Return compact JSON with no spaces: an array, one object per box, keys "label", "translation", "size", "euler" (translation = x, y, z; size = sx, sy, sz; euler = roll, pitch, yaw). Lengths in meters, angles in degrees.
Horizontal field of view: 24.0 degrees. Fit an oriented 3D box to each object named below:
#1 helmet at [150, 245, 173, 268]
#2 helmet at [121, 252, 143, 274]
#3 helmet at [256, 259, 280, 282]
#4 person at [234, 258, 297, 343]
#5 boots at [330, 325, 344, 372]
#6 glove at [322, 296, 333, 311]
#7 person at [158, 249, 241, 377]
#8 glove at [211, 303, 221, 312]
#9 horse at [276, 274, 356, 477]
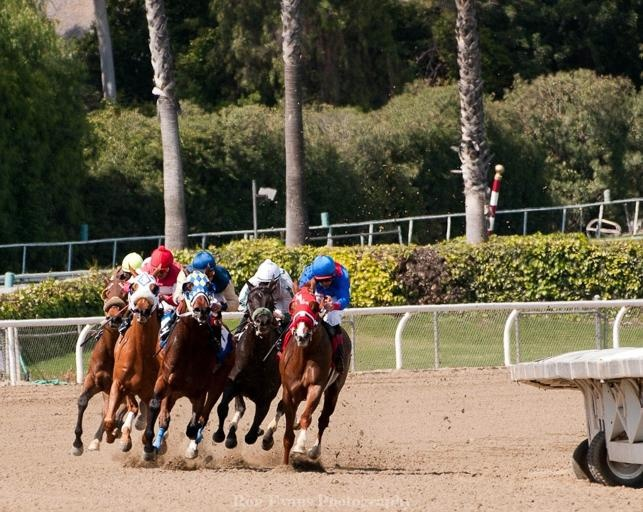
[{"label":"helmet","translation":[-2.451,-0.029,23.031],"size":[0.211,0.240,0.368],"euler":[5,35,-3]},{"label":"helmet","translation":[-2.981,0.160,23.454],"size":[0.222,0.242,0.367],"euler":[5,35,-5]},{"label":"helmet","translation":[-0.810,0.202,22.861],"size":[0.391,0.309,0.411],"euler":[-2,0,-8]},{"label":"person","translation":[-0.896,0.555,23.129],"size":[0.865,1.196,1.063],"euler":[-5,24,-28]},{"label":"boots","translation":[0.230,1.371,23.088],"size":[0.140,0.783,0.354],"euler":[-2,12,1]},{"label":"glove","translation":[0.069,0.692,22.758],"size":[0.125,0.219,0.065],"euler":[-2,-2,-27]},{"label":"person","translation":[-1.726,0.680,23.242],"size":[0.812,1.478,2.176],"euler":[7,10,4]},{"label":"glove","translation":[-1.574,0.738,22.380],"size":[0.156,0.117,0.072],"euler":[-2,0,-31]},{"label":"horse","translation":[-0.187,1.760,22.924],"size":[0.734,2.514,1.199],"euler":[-1,0,32]}]
